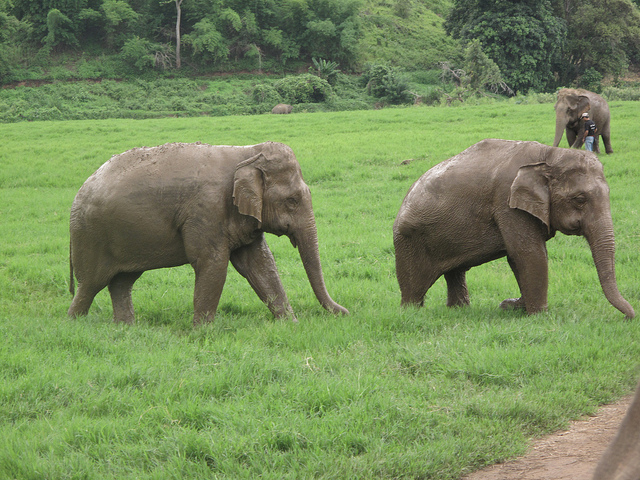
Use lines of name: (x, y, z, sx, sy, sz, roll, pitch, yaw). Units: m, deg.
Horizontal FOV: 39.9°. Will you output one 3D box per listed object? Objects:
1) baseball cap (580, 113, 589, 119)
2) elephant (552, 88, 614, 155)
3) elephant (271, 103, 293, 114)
baseball cap: (8.231, -3.897, 27.488, 0.186, 0.138, 0.372, 2, 10, 17)
elephant: (8.374, -3.733, 28.391, 2.579, 2.232, 1.147, -5, 8, -30)
elephant: (-2.125, -7.220, 48.635, 0.540, 0.776, 1.300, 16, 26, 42)
